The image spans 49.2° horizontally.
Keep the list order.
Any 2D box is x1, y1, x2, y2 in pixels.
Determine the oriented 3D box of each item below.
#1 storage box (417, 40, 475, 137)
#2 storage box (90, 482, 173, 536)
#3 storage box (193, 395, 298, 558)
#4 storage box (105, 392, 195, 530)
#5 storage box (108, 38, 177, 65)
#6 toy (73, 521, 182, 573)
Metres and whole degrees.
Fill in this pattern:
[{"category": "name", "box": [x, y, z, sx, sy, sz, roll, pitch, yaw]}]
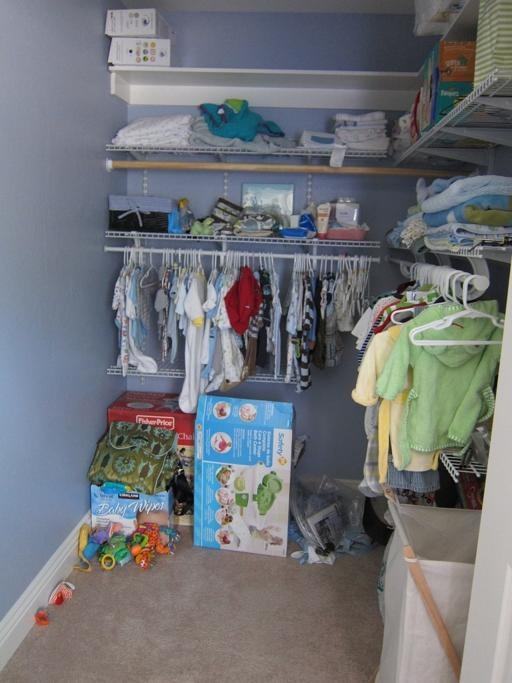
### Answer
[{"category": "storage box", "box": [0.726, -0.948, 2.120, 0.157, 0.275, 0.291, 1, 14, 4]}, {"category": "storage box", "box": [-0.638, 0.851, 2.871, 0.384, 0.253, 0.217, 2, -2, -10]}, {"category": "storage box", "box": [-0.056, 0.658, 2.856, 0.503, 0.770, 0.256, 3, 11, 9]}, {"category": "storage box", "box": [-0.549, 0.672, 3.083, 0.463, 0.607, 0.317, 2, -1, -5]}, {"category": "storage box", "box": [-0.577, -1.445, 2.802, 0.284, 0.137, 0.073, -2, 14, -15]}, {"category": "toy", "box": [-0.608, 0.966, 2.695, 0.467, 0.138, 0.260, 1, 13, -8]}]
